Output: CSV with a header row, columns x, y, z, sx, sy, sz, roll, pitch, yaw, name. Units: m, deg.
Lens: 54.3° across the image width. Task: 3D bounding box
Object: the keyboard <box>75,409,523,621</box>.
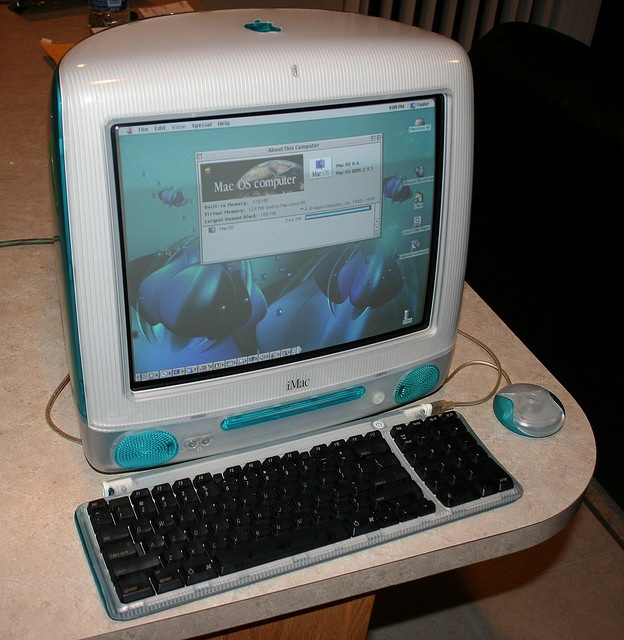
x,y,z,sx,sy,sz,roll,pitch,yaw,name
-0.032,0.163,0.616,0.456,0.053,0.159,-9,42,-22,keyboard
